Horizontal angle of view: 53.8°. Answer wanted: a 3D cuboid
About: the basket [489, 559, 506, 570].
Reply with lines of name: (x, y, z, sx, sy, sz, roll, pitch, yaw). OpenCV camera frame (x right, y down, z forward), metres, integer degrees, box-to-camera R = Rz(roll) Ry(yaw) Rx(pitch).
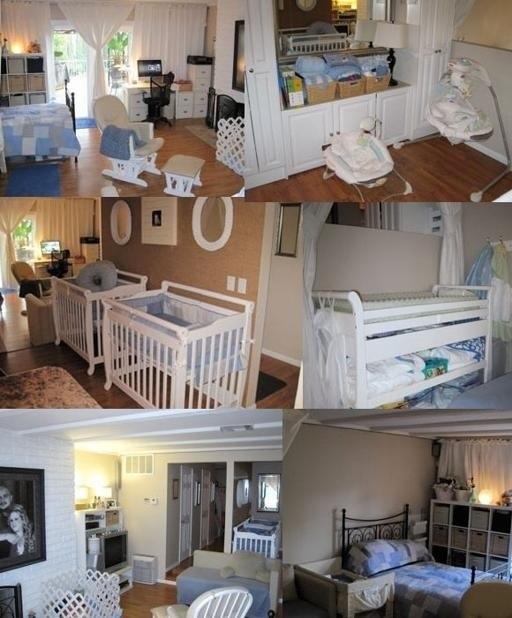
basket: (1.623, 1.699, 3.378, 0.095, 0.064, 0.092, -1, -1, 29)

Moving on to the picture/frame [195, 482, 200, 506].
picture/frame: (-0.740, 2.356, 6.420, 0.037, 0.291, 0.153, 2, 7, 19)

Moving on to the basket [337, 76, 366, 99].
basket: (0.651, -1.497, 3.407, 0.198, 0.089, 0.129, -16, 34, -23)

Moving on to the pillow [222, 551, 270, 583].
pillow: (-0.080, 2.466, 4.816, 0.356, 0.321, 0.106, 7, -7, 31)

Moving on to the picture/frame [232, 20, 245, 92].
picture/frame: (-0.100, -1.473, 2.936, 0.074, 0.354, 0.117, -1, 7, -3)

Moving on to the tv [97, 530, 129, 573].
tv: (-1.574, 2.660, 5.517, 0.172, 0.405, 0.489, -6, -20, 13)

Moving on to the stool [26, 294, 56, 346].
stool: (-1.273, 0.048, 2.982, 0.160, 0.217, 0.201, -11, 39, -34)

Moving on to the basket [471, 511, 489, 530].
basket: (1.548, 1.447, 3.466, 0.112, 0.109, 0.080, 11, 20, 30)

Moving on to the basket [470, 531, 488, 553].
basket: (1.531, 1.596, 3.444, 0.122, 0.117, 0.070, 12, 1, 40)

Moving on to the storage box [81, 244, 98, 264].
storage box: (-0.919, -0.312, 2.810, 0.096, 0.101, 0.048, -3, 7, -20)

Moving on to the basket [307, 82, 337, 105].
basket: (0.430, -1.418, 3.294, 0.166, 0.102, 0.167, -6, 29, -3)

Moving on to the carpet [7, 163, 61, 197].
carpet: (-1.227, -0.717, 2.792, 0.329, 0.199, 0.178, -1, 7, -4)

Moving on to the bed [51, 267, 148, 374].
bed: (-0.900, 0.013, 3.041, 0.476, 0.514, 0.577, -16, 33, -37)

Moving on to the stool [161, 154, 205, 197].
stool: (-0.403, -0.723, 2.970, 0.245, 0.302, 0.185, 6, -37, 0)

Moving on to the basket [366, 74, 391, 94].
basket: (0.846, -1.553, 3.493, 0.120, 0.093, 0.180, -10, 18, -23)

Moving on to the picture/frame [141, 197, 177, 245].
picture/frame: (-0.536, -0.480, 2.781, 0.261, 0.352, 0.037, 0, 2, -1)

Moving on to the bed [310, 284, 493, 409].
bed: (0.894, 0.210, 3.056, 1.126, 0.725, 0.404, -5, 8, -32)

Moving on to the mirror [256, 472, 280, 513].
mirror: (0.129, 1.760, 4.817, 0.335, 0.442, 0.036, -8, -20, 29)

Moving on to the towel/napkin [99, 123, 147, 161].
towel/napkin: (-0.771, -0.980, 2.954, 0.209, 0.210, 0.085, 3, 14, 9)
